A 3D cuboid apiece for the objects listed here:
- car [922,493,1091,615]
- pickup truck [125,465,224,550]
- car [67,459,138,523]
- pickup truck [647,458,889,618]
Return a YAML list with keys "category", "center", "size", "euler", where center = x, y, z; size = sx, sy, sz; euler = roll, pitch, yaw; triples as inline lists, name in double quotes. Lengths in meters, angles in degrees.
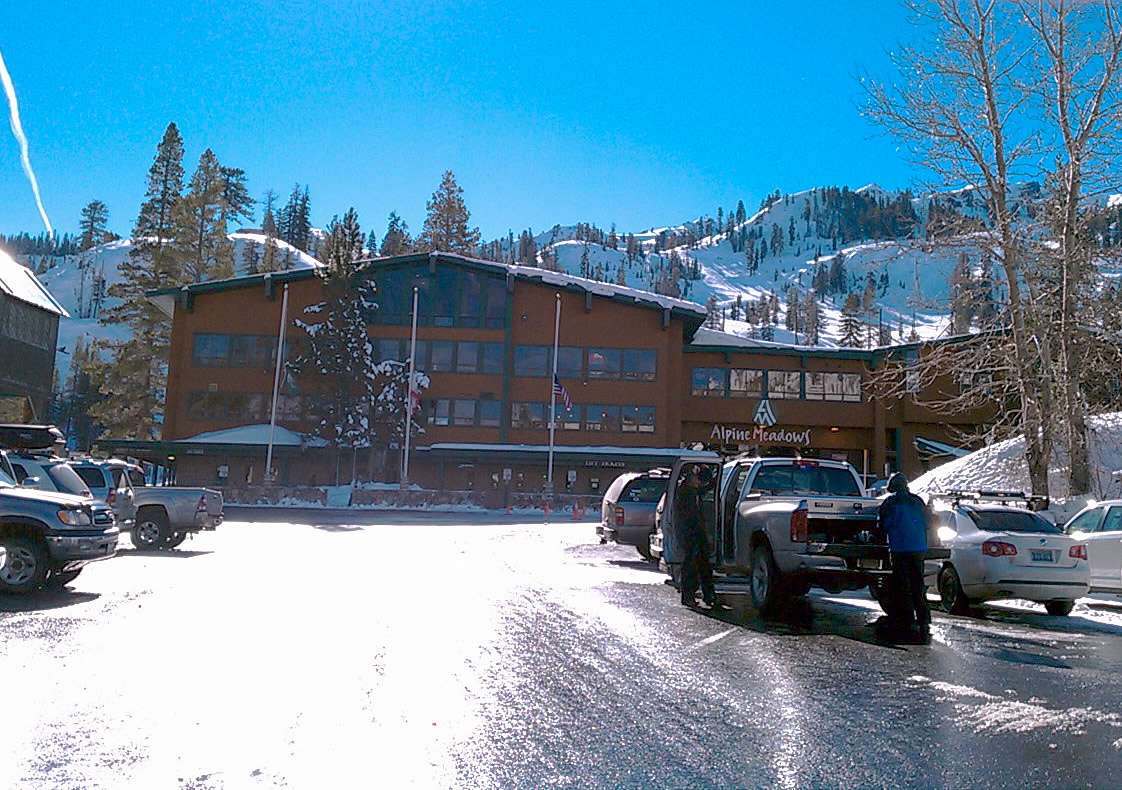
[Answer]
- category: "car"
  center: [7.608, 2.672, 14.411]
  size: [1.590, 1.295, 3.543]
  euler: [0, -5, 1]
- category: "pickup truck"
  center: [-9.402, 2.935, 20.928]
  size: [2.680, 1.320, 1.442]
  euler: [5, -10, -4]
- category: "car"
  center: [-10.053, 2.193, 19.581]
  size: [1.367, 1.482, 2.531]
  euler: [0, -1, 2]
- category: "pickup truck"
  center: [3.641, 2.139, 14.328]
  size: [2.350, 1.274, 3.440]
  euler: [3, -4, -15]
